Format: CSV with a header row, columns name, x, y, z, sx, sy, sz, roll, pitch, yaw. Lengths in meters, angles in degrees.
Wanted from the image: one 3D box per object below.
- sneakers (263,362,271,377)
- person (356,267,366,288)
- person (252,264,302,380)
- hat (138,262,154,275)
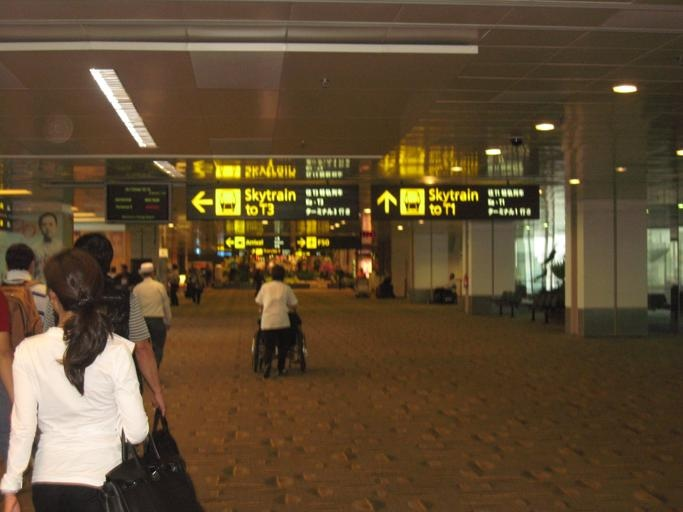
name,x,y,z,sx,sy,sz,roll,pitch,yaw
sneakers,-1.231,1.859,10.738,0.126,0.239,0.223,2,-18,-5
person,1.143,1.236,38.195,0.479,1.100,0.625,0,0,-13
person,-1.069,1.042,10.937,0.630,1.779,0.678,0,0,-6
hat,-2.653,0.147,9.084,0.182,0.157,0.189,-1,2,-27
